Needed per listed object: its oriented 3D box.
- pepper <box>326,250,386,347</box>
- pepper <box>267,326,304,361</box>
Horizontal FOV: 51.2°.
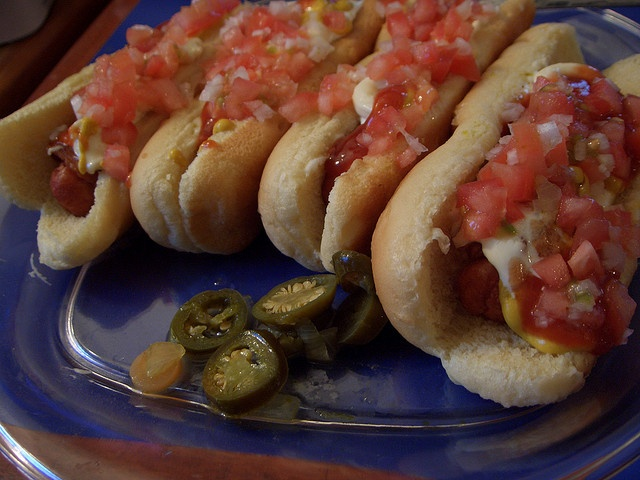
[{"bbox_3d":[0.181,0.262,3.099,0.144,0.313,0.423,2,68,-19],"label":"pepper"},{"bbox_3d":[-0.150,0.451,3.159,0.139,0.126,0.174,-23,86,9],"label":"pepper"}]
